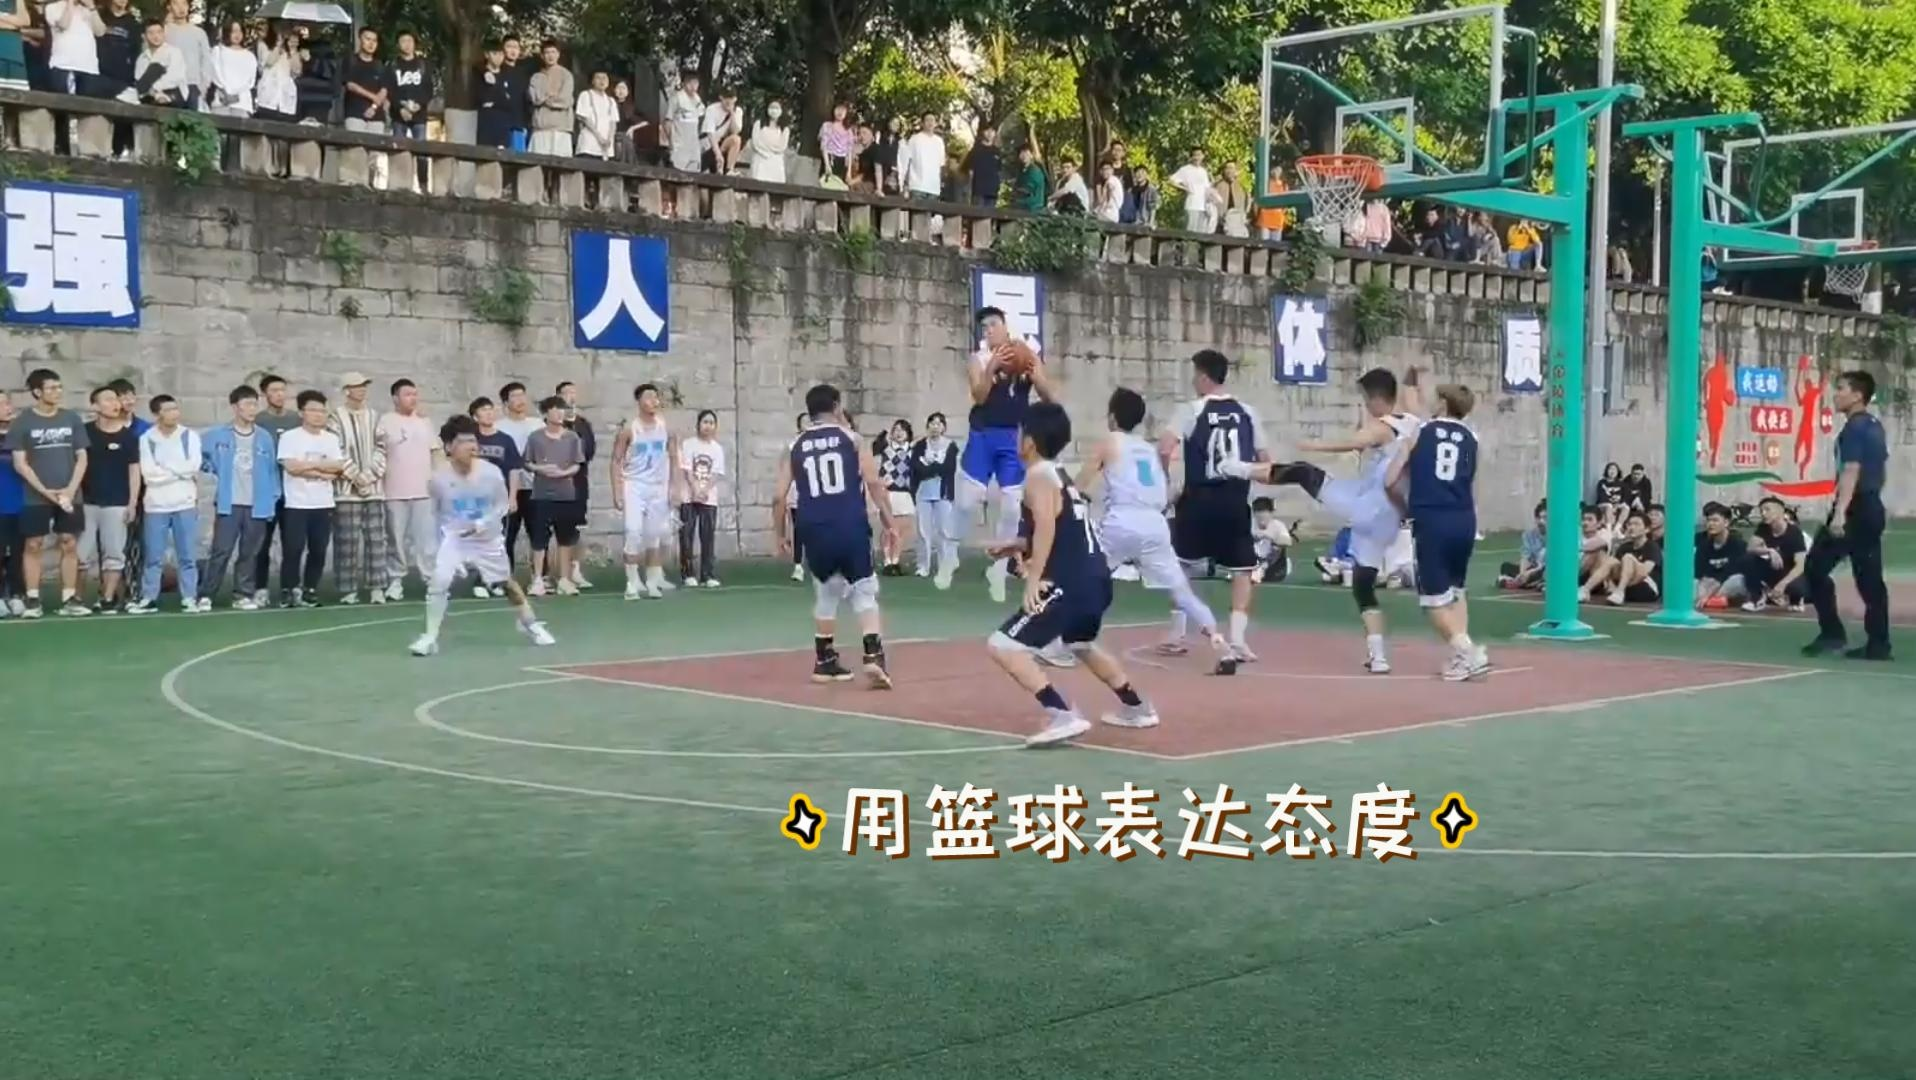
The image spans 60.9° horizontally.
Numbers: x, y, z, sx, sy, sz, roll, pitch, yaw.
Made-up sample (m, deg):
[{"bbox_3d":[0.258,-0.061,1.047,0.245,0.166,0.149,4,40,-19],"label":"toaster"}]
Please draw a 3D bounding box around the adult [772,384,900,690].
[{"bbox_3d":[-1.121,-0.048,14.608,0.971,2.649,1.494,-1,8,-9],"label":"adult"}]

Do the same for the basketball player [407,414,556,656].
[{"bbox_3d":[-4.942,-0.083,16.757,1.349,2.401,1.571,-2,8,-14],"label":"basketball player"}]

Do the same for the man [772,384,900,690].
[{"bbox_3d":[-1.113,-0.046,14.601,0.947,2.649,1.496,-2,8,-11],"label":"man"}]

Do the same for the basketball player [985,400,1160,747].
[{"bbox_3d":[0.771,0.240,12.129,0.749,2.502,1.161,6,10,35],"label":"basketball player"}]

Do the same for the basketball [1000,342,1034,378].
[{"bbox_3d":[0.654,-1.997,17.676,0.344,0.212,0.468,14,-3,0],"label":"basketball"}]

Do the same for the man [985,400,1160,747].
[{"bbox_3d":[0.775,0.241,12.127,0.739,2.502,1.161,6,10,35],"label":"man"}]

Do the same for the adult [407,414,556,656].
[{"bbox_3d":[-4.978,-0.086,16.775,1.322,2.399,1.638,-2,9,-15],"label":"adult"}]

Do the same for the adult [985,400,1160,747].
[{"bbox_3d":[0.766,0.240,12.133,0.762,2.502,1.161,6,10,35],"label":"adult"}]

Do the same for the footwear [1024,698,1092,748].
[{"bbox_3d":[0.765,1.369,12.074,0.589,0.279,0.212,-17,1,4],"label":"footwear"}]

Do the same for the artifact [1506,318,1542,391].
[{"bbox_3d":[13.153,-4.347,38.152,1.163,1.771,0.414,-1,0,-27],"label":"artifact"}]

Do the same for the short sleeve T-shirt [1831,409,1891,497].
[{"bbox_3d":[9.195,-0.903,16.691,0.402,0.819,0.977,5,10,33],"label":"short sleeve T-shirt"}]

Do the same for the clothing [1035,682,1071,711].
[{"bbox_3d":[0.689,1.163,12.044,0.256,0.150,0.132,34,-12,-11],"label":"clothing"}]

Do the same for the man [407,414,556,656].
[{"bbox_3d":[-4.960,-0.079,16.724,1.305,2.399,1.525,-2,8,-15],"label":"man"}]

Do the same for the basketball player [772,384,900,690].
[{"bbox_3d":[-1.130,-0.049,14.617,0.997,2.649,1.490,-1,8,-7],"label":"basketball player"}]
